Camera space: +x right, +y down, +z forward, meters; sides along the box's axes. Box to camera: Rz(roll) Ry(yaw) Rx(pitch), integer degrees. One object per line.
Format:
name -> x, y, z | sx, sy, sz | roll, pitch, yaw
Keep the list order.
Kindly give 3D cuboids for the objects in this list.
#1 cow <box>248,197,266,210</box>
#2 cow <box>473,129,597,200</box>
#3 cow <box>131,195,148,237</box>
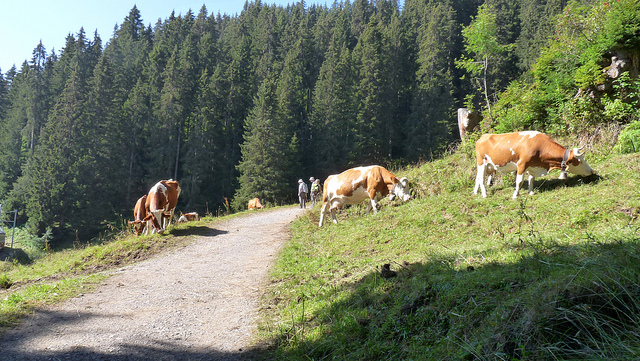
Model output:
cow -> -8.023, 2.830, 61.307 | 1.429, 0.963, 1.927 | -1, -8, -6
cow -> 17.688, -1.204, 41.754 | 9.594, 6.094, 2.716 | 9, 21, 36
cow -> -17.148, 3.337, 47.416 | 1.151, 3.878, 2.030 | 8, -44, -28
